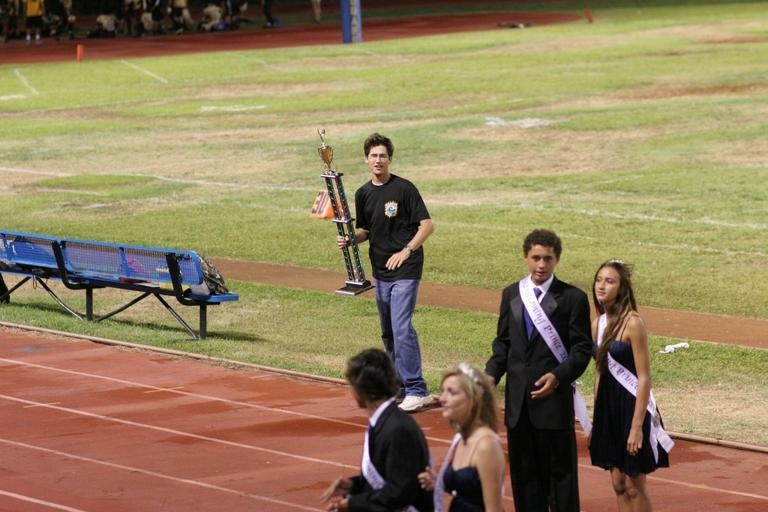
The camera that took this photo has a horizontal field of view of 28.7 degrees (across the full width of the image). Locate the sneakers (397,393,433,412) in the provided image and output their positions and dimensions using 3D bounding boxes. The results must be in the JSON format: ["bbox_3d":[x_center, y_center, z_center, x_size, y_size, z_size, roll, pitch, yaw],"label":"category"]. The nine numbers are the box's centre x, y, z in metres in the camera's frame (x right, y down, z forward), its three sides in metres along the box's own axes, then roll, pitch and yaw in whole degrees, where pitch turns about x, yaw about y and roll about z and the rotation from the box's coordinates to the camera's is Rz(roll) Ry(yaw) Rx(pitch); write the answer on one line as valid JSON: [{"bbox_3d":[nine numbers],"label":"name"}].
[{"bbox_3d":[0.474,2.136,22.078,0.614,0.238,0.216,-4,13,-27],"label":"sneakers"}]

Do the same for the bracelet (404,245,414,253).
[{"bbox_3d":[0.367,-0.101,21.713,0.116,0.098,0.028,28,-1,17],"label":"bracelet"}]
